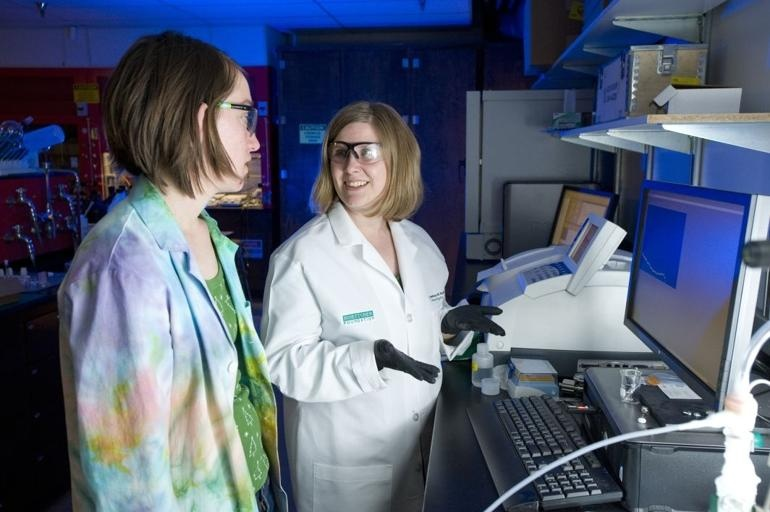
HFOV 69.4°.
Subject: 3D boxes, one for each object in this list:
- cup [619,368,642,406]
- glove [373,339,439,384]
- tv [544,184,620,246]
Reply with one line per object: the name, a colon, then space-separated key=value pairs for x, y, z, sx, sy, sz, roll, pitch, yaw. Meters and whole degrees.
cup: x=0.807 y=0.433 z=1.841 sx=0.079 sy=0.101 sz=0.063 roll=3 pitch=-5 yaw=-8
glove: x=0.067 y=0.385 z=2.059 sx=0.235 sy=0.068 sz=0.126 roll=24 pitch=-20 yaw=11
tv: x=1.110 y=-0.163 z=3.131 sx=0.053 sy=0.398 sz=0.504 roll=9 pitch=9 yaw=-13
